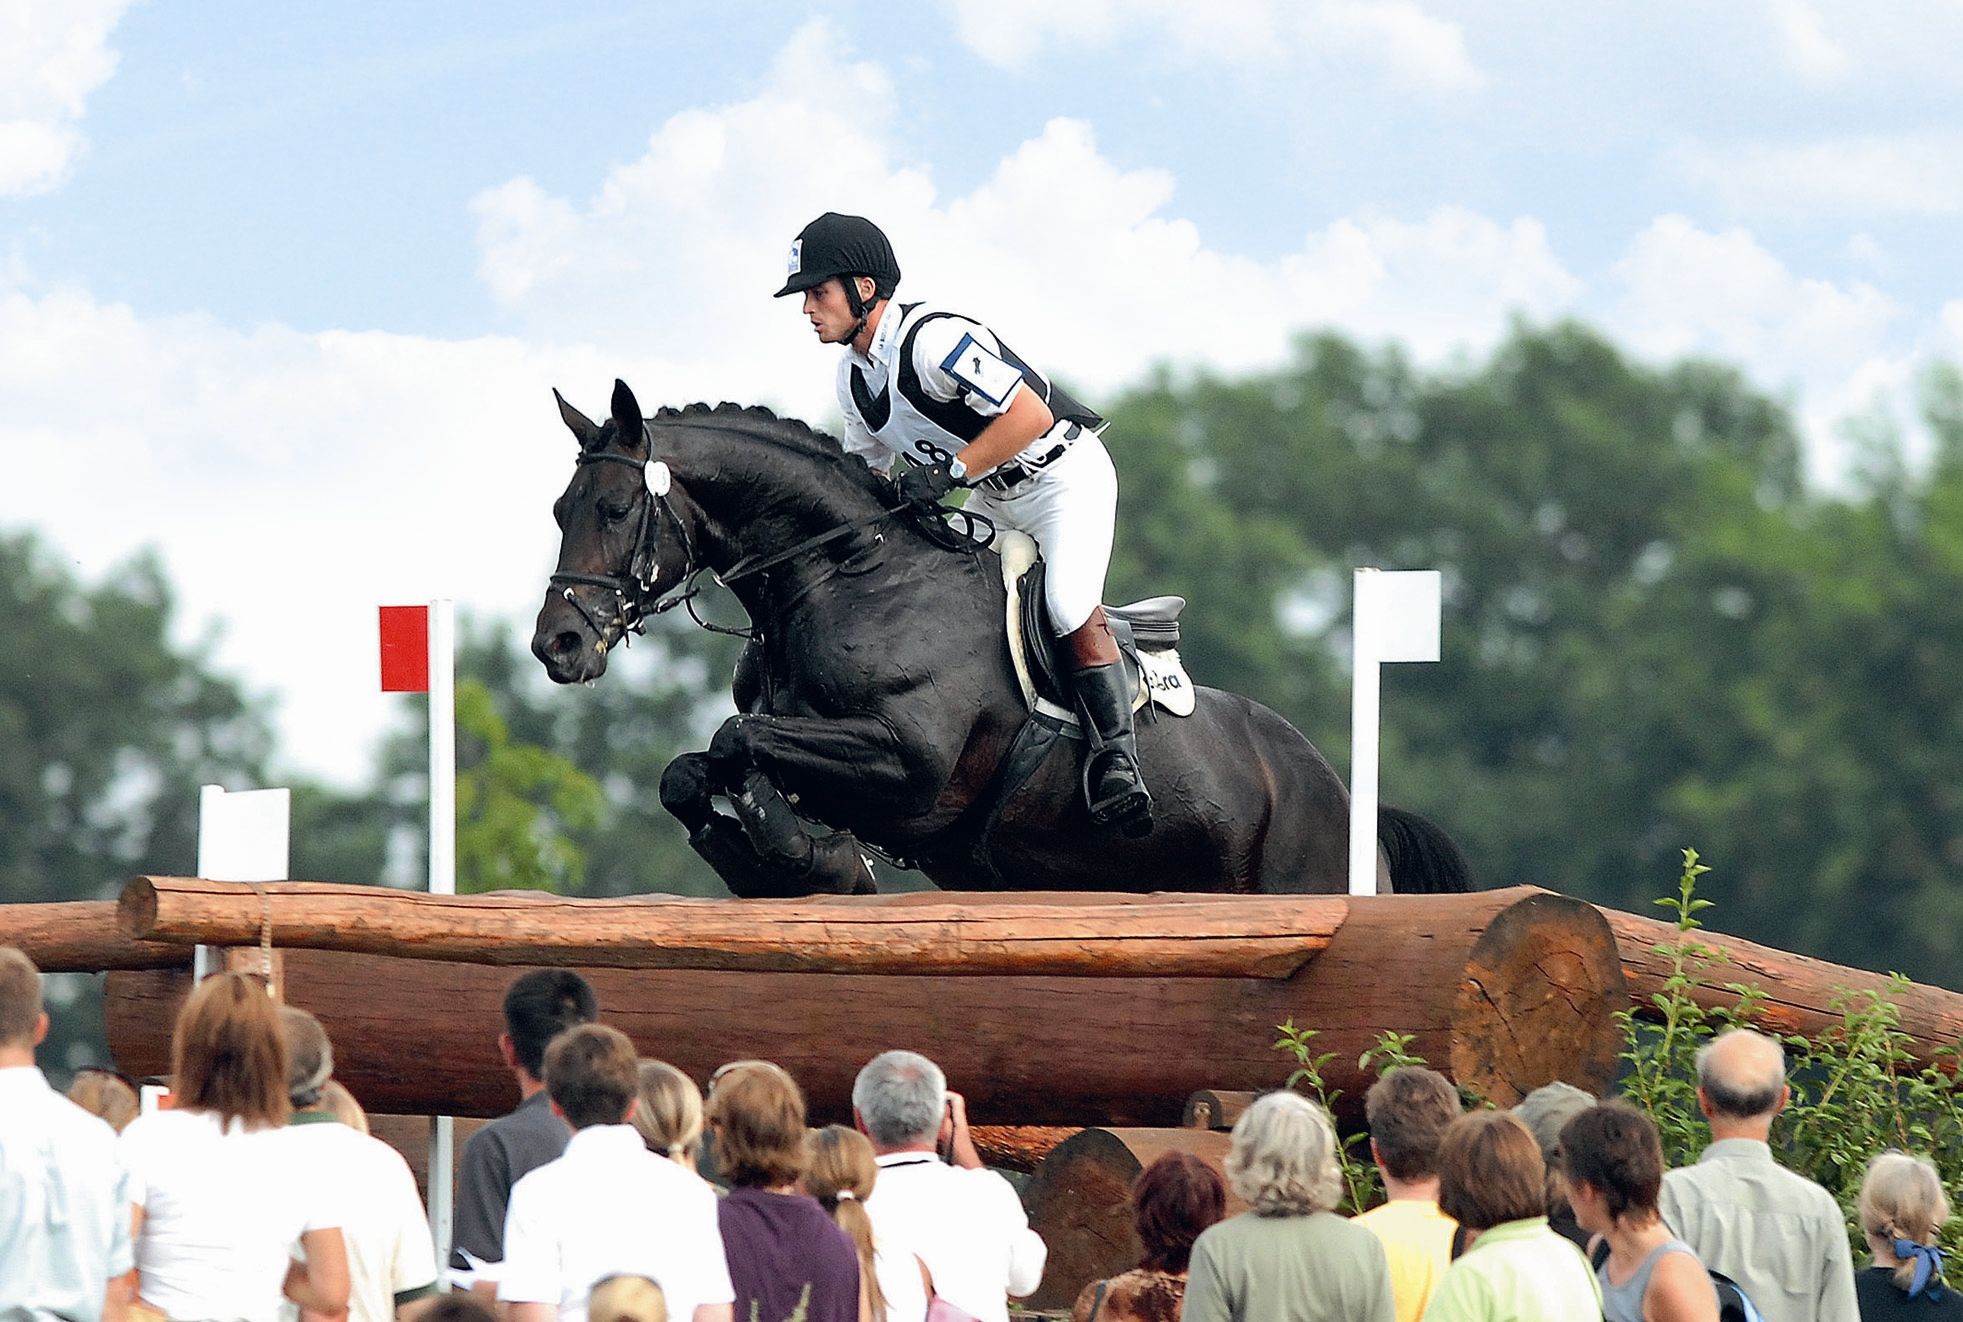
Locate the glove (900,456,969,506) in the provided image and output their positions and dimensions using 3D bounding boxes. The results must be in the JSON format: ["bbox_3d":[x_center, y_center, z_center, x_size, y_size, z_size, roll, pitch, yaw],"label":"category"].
[{"bbox_3d":[-0.338,-1.214,33.334,0.426,0.287,0.183,-13,-21,-10],"label":"glove"}]
